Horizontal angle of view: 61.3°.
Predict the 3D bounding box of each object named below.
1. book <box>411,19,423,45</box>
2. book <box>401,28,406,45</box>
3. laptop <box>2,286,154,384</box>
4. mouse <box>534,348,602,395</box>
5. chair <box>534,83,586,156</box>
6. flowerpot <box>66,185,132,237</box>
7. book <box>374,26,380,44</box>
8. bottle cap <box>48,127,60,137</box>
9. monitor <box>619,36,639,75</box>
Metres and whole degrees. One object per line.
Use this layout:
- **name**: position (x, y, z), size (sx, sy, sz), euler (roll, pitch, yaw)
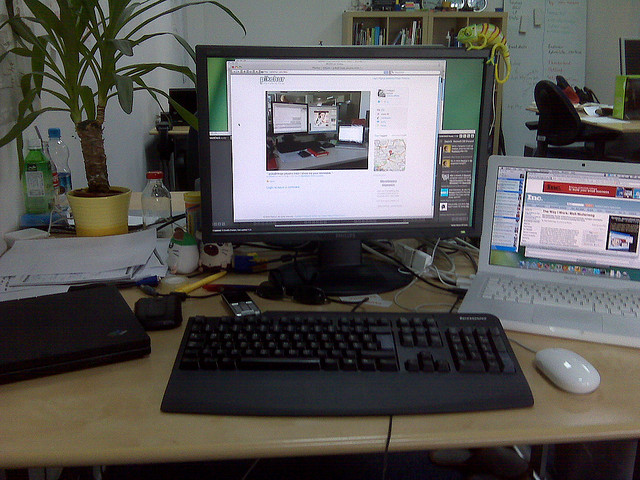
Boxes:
- **book**: position (0.958, -2.088, 5.402), size (0.108, 0.223, 0.096), euler (2, 16, 7)
- **book**: position (0.833, -2.050, 5.418), size (0.044, 0.146, 0.084), euler (2, 16, 7)
- **laptop**: position (-0.518, 0.185, 1.107), size (0.183, 0.028, 0.210), euler (-2, 25, -28)
- **mouse**: position (0.500, 0.252, 1.067), size (0.120, 0.054, 0.106), euler (-7, 18, -21)
- **chair**: position (1.804, -0.892, 4.052), size (0.391, 0.548, 0.475), euler (8, 18, 24)
- **flowerpot**: position (-0.631, -0.092, 1.550), size (0.128, 0.113, 0.150), euler (1, 12, 2)
- **book**: position (0.569, -2.074, 5.454), size (0.054, 0.163, 0.086), euler (1, 16, 5)
- **bottle cap**: position (-0.881, -0.353, 1.789), size (0.026, 0.028, 0.046), euler (-1, 17, -2)
- **monitor**: position (2.279, -1.363, 3.984), size (0.157, 0.262, 0.137), euler (-1, 16, -2)
